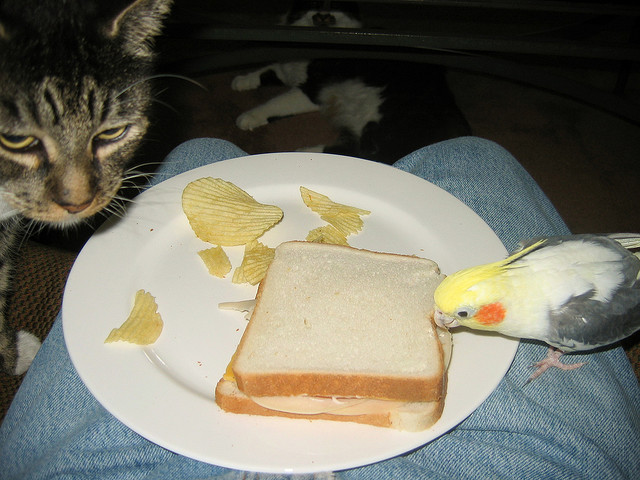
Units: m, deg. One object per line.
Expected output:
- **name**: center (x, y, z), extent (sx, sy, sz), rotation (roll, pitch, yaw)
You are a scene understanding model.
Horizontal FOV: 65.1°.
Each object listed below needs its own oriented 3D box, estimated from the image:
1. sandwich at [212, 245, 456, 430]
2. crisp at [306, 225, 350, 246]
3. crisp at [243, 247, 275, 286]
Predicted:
- **sandwich**: center (0.059, 0.230, 1.367), extent (0.563, 0.218, 0.502), rotation (8, 72, -1)
- **crisp**: center (0.030, -0.016, 1.573), extent (0.089, 0.020, 0.069), rotation (9, 58, 3)
- **crisp**: center (-0.171, 0.067, 1.501), extent (0.036, 0.167, 0.095), rotation (-16, 86, 24)
